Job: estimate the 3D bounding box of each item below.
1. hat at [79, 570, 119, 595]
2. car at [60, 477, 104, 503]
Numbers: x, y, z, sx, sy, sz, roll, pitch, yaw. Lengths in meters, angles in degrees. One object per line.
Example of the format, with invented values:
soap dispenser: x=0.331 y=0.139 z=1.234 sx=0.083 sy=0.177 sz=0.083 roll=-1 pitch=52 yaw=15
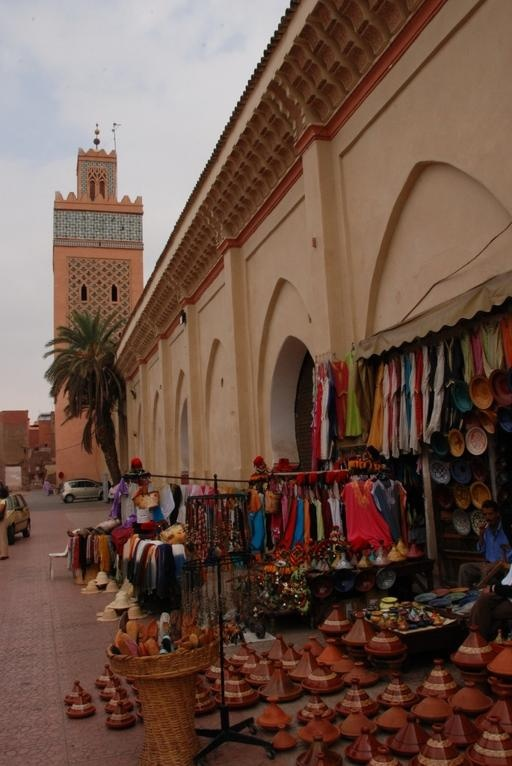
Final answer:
hat: x=-2.275 y=2.907 z=8.757 sx=0.488 sy=0.230 sz=0.610 roll=-1 pitch=-9 yaw=-18
car: x=-8.963 y=5.656 z=31.394 sx=1.832 sy=1.001 sz=1.152 roll=-3 pitch=1 yaw=-21
